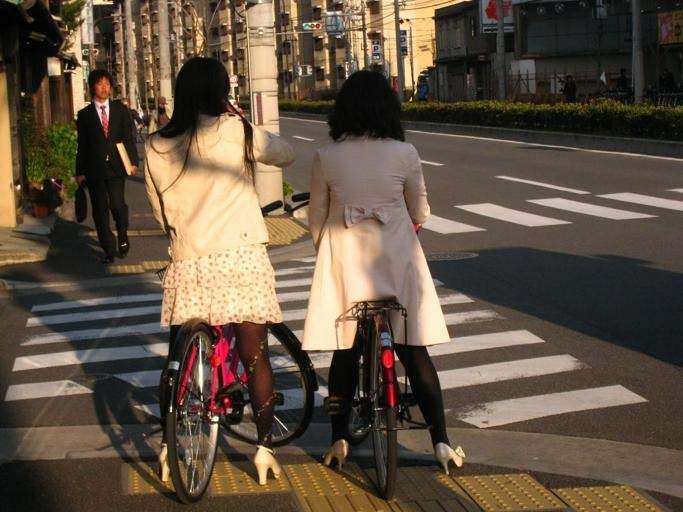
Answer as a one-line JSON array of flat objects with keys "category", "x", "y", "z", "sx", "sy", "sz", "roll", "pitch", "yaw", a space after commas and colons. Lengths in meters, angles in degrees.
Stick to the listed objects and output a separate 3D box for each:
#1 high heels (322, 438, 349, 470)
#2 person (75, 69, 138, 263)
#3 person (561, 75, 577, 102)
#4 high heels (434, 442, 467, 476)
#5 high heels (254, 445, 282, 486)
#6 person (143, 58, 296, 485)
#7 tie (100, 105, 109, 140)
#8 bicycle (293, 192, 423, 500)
[{"category": "high heels", "x": -0.033, "y": 1.216, "z": 4.399, "sx": 0.077, "sy": 0.132, "sz": 0.279, "roll": 11, "pitch": -6, "yaw": -8}, {"category": "person", "x": -3.533, "y": -1.294, "z": 10.792, "sx": 0.895, "sy": 2.918, "sz": 1.549, "roll": -4, "pitch": 9, "yaw": -17}, {"category": "person", "x": 11.371, "y": -8.283, "z": 35.603, "sx": 0.588, "sy": 1.314, "sz": 2.473, "roll": 1, "pitch": 11, "yaw": 14}, {"category": "high heels", "x": 0.623, "y": 1.161, "z": 4.162, "sx": 0.112, "sy": 0.145, "sz": 0.279, "roll": -1, "pitch": 7, "yaw": 13}, {"category": "high heels", "x": -0.429, "y": 1.211, "z": 4.217, "sx": 0.090, "sy": 0.194, "sz": 0.308, "roll": 1, "pitch": 11, "yaw": 4}, {"category": "person", "x": -0.702, "y": 0.113, "z": 4.173, "sx": 0.816, "sy": 2.471, "sz": 0.460, "roll": -4, "pitch": 9, "yaw": -18}, {"category": "tie", "x": -3.503, "y": -1.983, "z": 10.609, "sx": 0.140, "sy": 0.435, "sz": 0.063, "roll": 4, "pitch": 10, "yaw": 31}, {"category": "bicycle", "x": -0.011, "y": 0.670, "z": 4.520, "sx": 0.690, "sy": 1.066, "sz": 1.591, "roll": -2, "pitch": 11, "yaw": -4}]
